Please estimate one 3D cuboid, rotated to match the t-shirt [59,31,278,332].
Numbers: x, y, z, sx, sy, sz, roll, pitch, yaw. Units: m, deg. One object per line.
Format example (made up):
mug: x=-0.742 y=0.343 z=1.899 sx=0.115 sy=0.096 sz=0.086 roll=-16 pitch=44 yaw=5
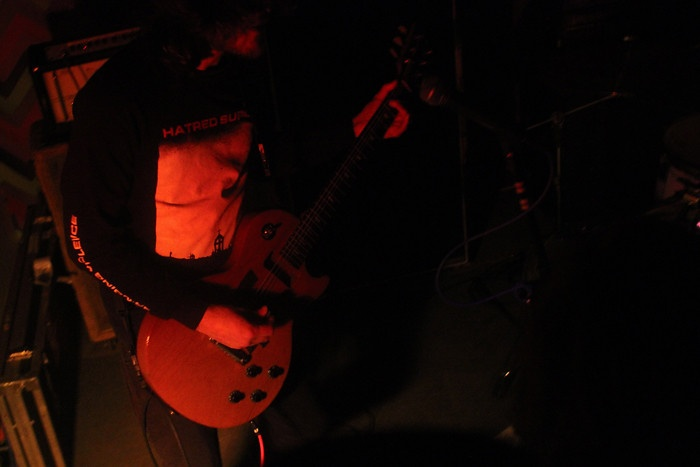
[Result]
t-shirt: x=-0.948 y=-0.295 z=2.986 sx=0.622 sy=0.994 sz=1.054 roll=10 pitch=50 yaw=19
